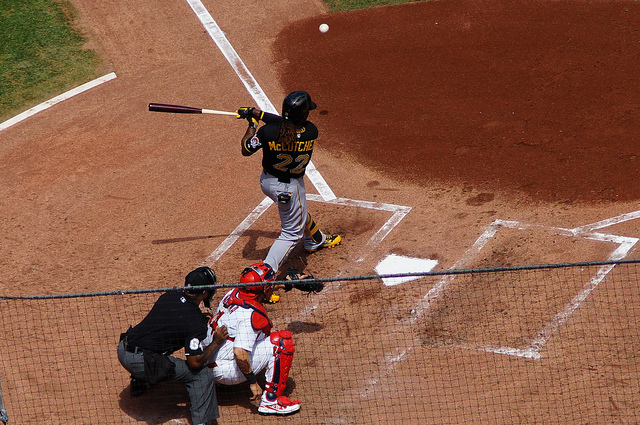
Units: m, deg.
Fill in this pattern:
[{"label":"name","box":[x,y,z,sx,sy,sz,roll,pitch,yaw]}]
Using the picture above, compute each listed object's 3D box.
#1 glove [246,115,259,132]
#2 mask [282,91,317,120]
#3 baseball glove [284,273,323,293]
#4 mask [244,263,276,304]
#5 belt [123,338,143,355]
[{"label":"glove","box":[-1.161,-1.551,17.274,0.095,0.256,0.241,-53,5,37]},{"label":"mask","box":[-0.348,-1.757,16.538,0.310,0.444,0.589,22,61,37]},{"label":"baseball glove","box":[-0.224,1.175,16.035,0.343,0.511,0.155,15,93,59]},{"label":"mask","box":[-0.817,1.103,16.037,0.619,0.555,0.555,-51,-26,-70]},{"label":"belt","box":[-2.846,2.065,15.291,0.063,0.244,0.228,-70,19,-5]}]
